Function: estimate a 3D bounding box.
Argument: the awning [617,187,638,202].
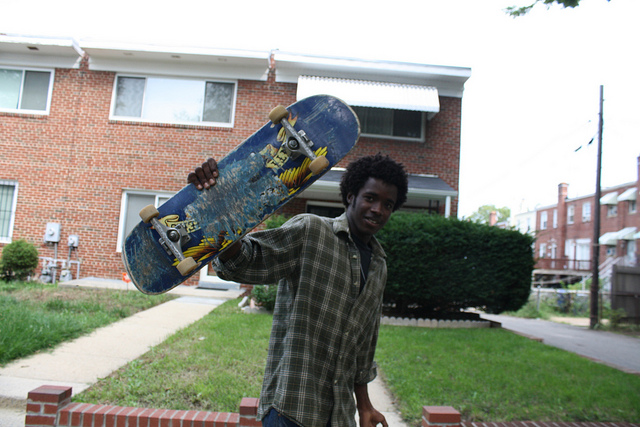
[{"bbox_3d":[20.589,-1.209,33.829,0.651,0.656,1.248,6,-2,-4],"label":"awning"}]

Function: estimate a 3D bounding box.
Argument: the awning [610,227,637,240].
[{"bbox_3d":[19.940,1.317,33.225,0.780,0.833,1.766,4,-5,-2],"label":"awning"}]

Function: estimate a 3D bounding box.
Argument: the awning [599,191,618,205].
[{"bbox_3d":[19.715,-0.998,34.572,0.991,0.666,1.354,-14,8,-12],"label":"awning"}]
